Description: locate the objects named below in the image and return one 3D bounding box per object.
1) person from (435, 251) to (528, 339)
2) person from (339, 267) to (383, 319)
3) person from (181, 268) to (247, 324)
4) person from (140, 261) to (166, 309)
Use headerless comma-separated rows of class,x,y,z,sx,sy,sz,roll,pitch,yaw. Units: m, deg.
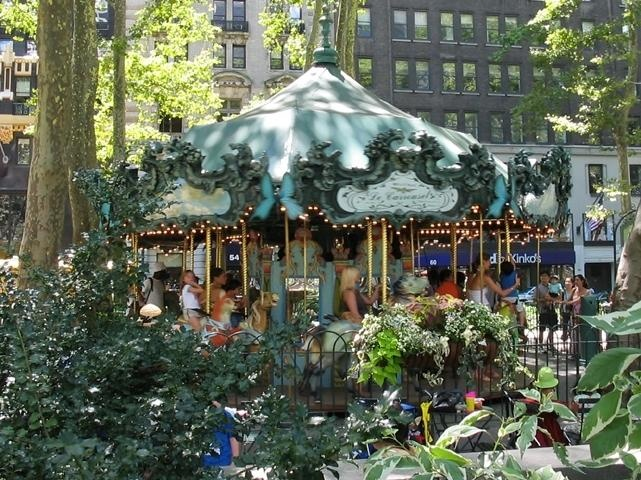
person,3.409,0.950,19.168,1.008,1.447,1.902,0,5,9
person,0.635,0.929,17.071,0.638,0.907,1.001,1,6,20
person,-2.208,0.952,18.664,0.765,1.002,1.074,-1,3,-33
person,-3.754,1.092,21.954,0.552,0.996,2.191,-1,5,-9
